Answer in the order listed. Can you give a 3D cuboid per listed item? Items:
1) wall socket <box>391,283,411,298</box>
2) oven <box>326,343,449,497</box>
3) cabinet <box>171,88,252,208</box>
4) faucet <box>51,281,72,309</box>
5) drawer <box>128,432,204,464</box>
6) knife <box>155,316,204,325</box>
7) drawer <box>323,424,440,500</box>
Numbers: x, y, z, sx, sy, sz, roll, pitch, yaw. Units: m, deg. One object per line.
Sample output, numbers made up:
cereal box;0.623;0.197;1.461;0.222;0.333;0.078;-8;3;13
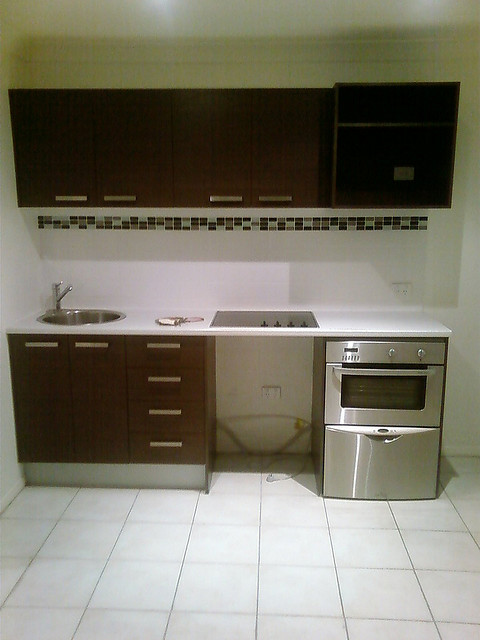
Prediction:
wall socket;0.861;-0.161;2.752;0.104;0.075;0.025;2;7;17
oven;0.654;0.423;2.632;0.414;0.992;0.608;0;6;5
cabinet;-0.137;-0.845;2.625;0.409;0.895;0.412;0;16;0
faucet;-0.951;-0.125;2.719;0.087;0.149;0.233;-3;8;-23
drawer;-0.362;0.619;2.518;0.194;0.146;0.186;1;-1;1
knife;-0.294;0.001;2.509;0.249;0.018;0.145;-3;9;-17
drawer;0.639;0.657;2.253;0.299;0.324;0.407;0;3;3
